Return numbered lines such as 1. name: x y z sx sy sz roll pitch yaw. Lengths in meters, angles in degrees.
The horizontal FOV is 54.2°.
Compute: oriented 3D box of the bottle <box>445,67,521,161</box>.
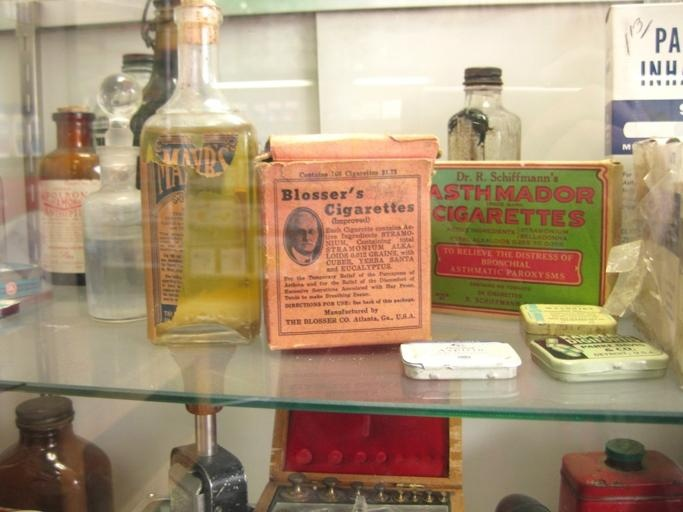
1. bottle: 0.191 -0.189 0.890 0.095 0.121 0.039 0 11 8
